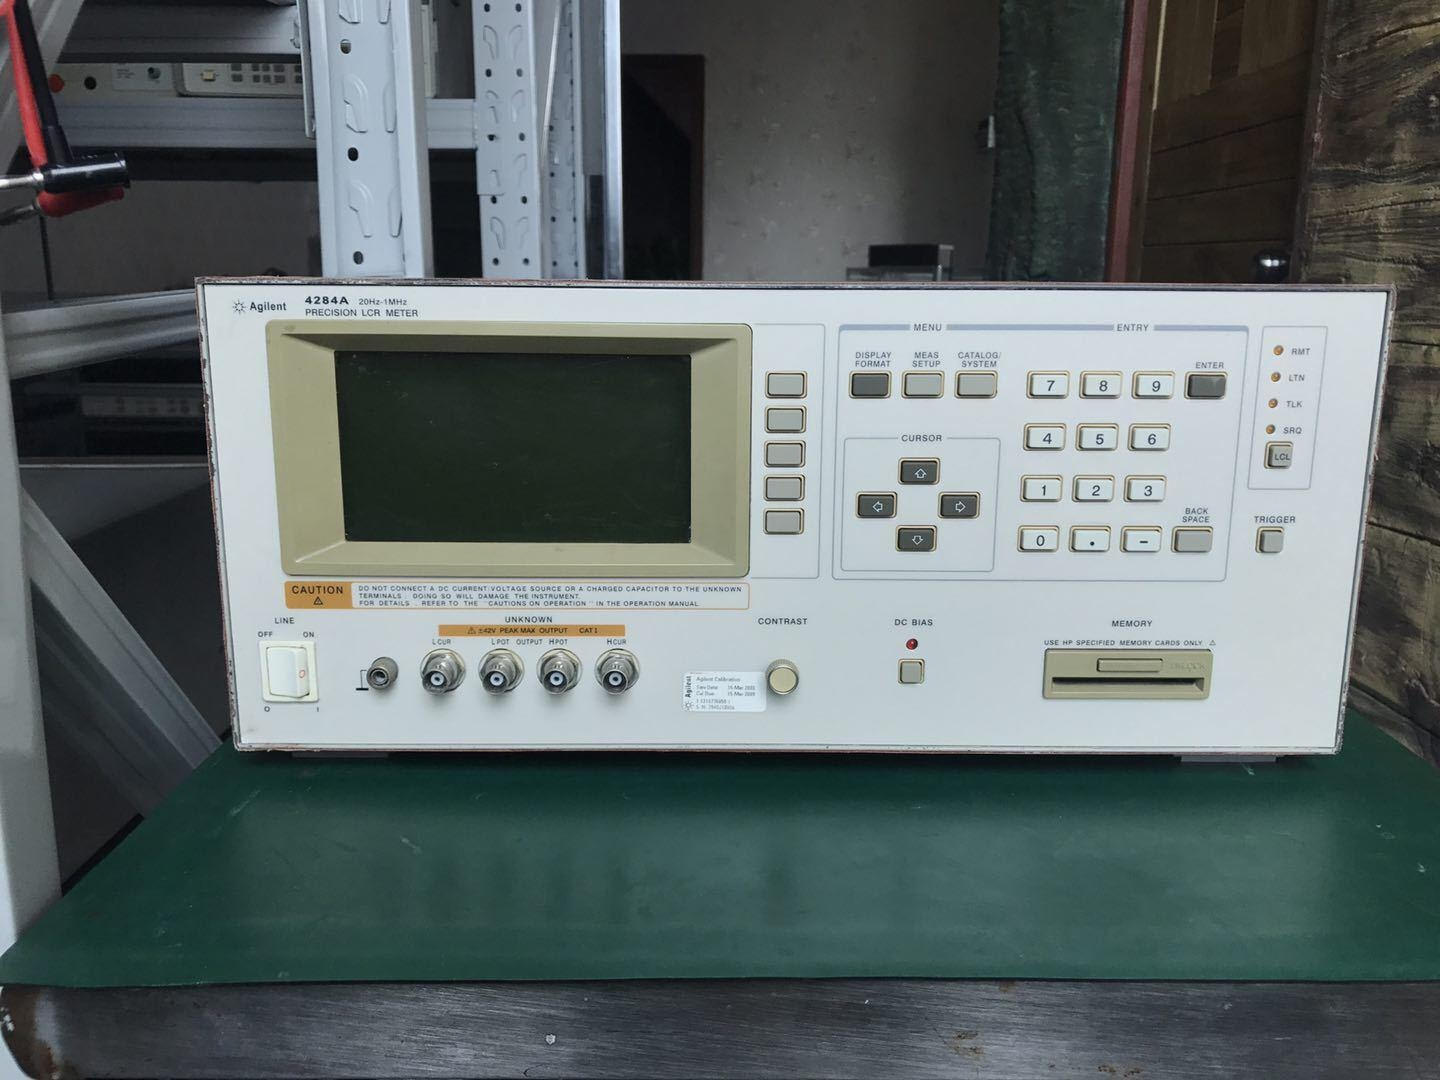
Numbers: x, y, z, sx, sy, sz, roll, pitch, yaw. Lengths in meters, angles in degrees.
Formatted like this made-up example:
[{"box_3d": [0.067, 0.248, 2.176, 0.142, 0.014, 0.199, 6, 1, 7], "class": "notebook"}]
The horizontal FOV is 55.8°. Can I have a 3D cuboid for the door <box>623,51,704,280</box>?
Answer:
[{"box_3d": [-0.269, -1.699, 6.436, 0.413, 0.962, 0.071, 0, -1, 30], "class": "door"}]
